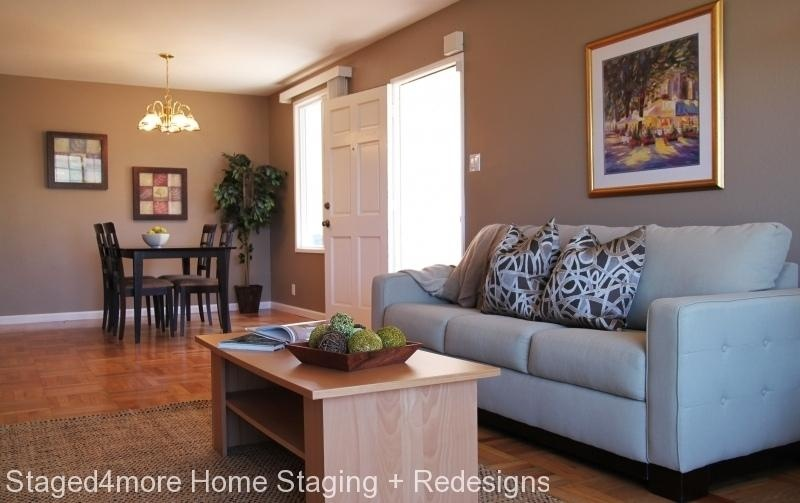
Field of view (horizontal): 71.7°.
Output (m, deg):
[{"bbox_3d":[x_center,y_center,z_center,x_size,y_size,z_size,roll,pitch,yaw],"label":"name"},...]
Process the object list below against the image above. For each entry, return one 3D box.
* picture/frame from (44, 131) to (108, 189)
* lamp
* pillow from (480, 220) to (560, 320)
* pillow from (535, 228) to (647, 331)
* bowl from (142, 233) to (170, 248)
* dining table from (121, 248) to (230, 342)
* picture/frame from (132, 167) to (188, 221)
[{"bbox_3d":[-4.383,-1.232,7.409,0.810,0.809,0.054,-3,6,-29],"label":"picture/frame"},{"bbox_3d":[-2.833,-1.916,6.680,0.836,0.889,0.766,2,11,-4],"label":"lamp"},{"bbox_3d":[0.803,0.148,3.684,0.349,0.612,0.652,3,-6,-35],"label":"pillow"},{"bbox_3d":[1.156,0.178,3.283,0.187,0.592,0.610,24,-8,-35],"label":"pillow"},{"bbox_3d":[-2.820,-0.125,6.382,0.223,0.111,0.224,-2,-4,0],"label":"bowl"},{"bbox_3d":[-2.578,0.521,6.436,1.134,1.001,1.106,0,-3,-17],"label":"dining table"},{"bbox_3d":[-3.445,-0.823,7.830,0.812,0.812,0.110,0,3,-31],"label":"picture/frame"}]
